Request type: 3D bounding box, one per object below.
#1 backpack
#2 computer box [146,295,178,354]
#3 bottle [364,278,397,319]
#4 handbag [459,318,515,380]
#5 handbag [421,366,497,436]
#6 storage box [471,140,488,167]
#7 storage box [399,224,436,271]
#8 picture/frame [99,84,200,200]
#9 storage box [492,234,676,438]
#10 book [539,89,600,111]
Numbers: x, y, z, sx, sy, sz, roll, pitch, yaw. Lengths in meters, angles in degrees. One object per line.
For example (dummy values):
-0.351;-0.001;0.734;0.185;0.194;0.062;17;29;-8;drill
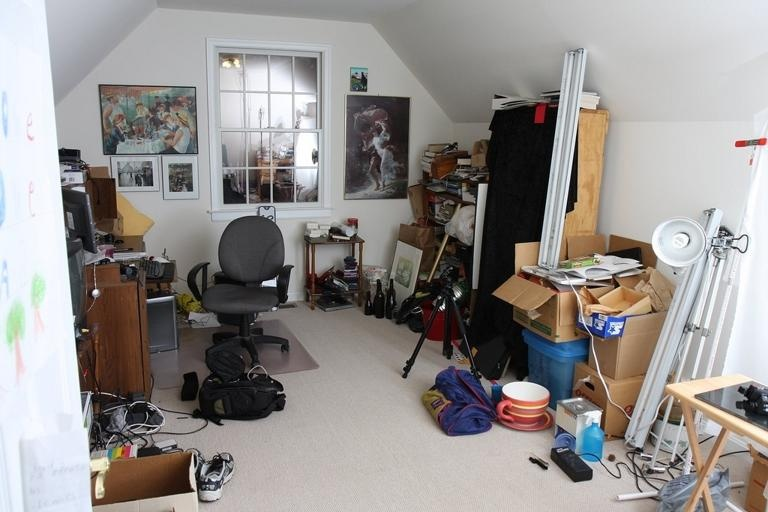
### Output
-0.993;0.928;3.673;0.522;0.450;0.273;0;-8;-3;backpack
-1.744;0.546;4.133;0.223;0.515;0.220;-7;12;-23;computer box
-0.047;0.429;5.373;0.313;0.353;0.287;-1;11;6;bottle
0.809;0.739;4.134;0.095;0.354;0.343;31;-7;-26;handbag
0.523;0.987;3.607;0.412;0.276;0.484;-6;11;-18;handbag
0.921;-0.996;5.062;0.165;0.265;0.449;0;11;10;storage box
0.357;-0.073;5.496;0.185;0.521;0.365;-7;19;-43;storage box
-2.268;-1.128;4.988;1.187;0.864;0.018;-2;9;-23;picture/frame
1.383;0.413;3.978;1.339;1.414;1.138;-2;11;-29;storage box
1.488;-1.180;3.914;0.253;0.076;0.254;-5;9;-38;book
